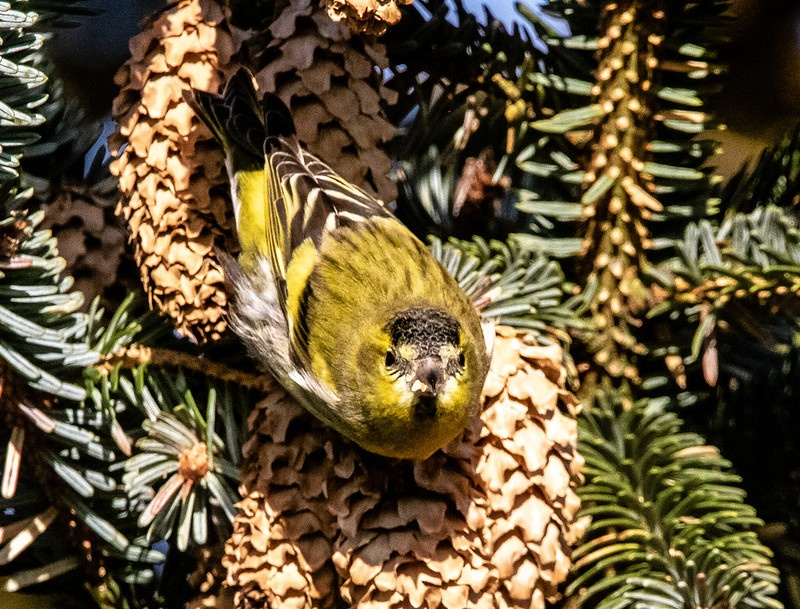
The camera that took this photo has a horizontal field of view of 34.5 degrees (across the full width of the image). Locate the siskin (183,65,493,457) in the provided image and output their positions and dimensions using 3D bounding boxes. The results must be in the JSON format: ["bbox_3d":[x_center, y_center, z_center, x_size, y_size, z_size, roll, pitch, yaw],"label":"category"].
[{"bbox_3d":[-0.176,-0.046,2.968,0.450,0.473,0.954,-43,82,-6],"label":"siskin"}]
